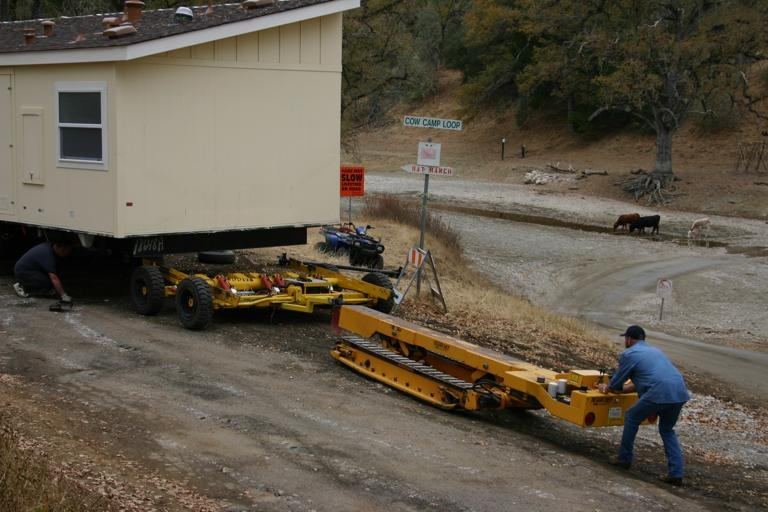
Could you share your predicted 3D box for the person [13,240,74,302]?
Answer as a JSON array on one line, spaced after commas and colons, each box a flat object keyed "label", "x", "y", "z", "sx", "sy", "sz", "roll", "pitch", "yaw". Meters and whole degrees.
[{"label": "person", "x": -7.035, "y": 0.318, "z": 16.797, "sx": 1.572, "sy": 1.194, "sz": 0.855, "roll": 6, "pitch": 8, "yaw": 32}]

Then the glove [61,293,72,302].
[{"label": "glove", "x": -6.480, "y": 0.850, "z": 16.366, "sx": 0.156, "sy": 0.088, "sz": 0.220, "roll": -5, "pitch": 18, "yaw": -40}]

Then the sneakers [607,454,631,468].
[{"label": "sneakers", "x": 3.686, "y": 3.210, "z": 12.559, "sx": 0.172, "sy": 0.146, "sz": 0.353, "roll": -7, "pitch": 17, "yaw": -41}]

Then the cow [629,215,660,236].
[{"label": "cow", "x": 12.180, "y": -1.496, "z": 37.368, "sx": 1.310, "sy": 0.864, "sz": 1.393, "roll": 3, "pitch": 7, "yaw": 16}]

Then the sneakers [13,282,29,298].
[{"label": "sneakers", "x": -7.656, "y": 0.748, "z": 16.930, "sx": 0.221, "sy": 0.412, "sz": 0.159, "roll": -14, "pitch": 1, "yaw": -17}]

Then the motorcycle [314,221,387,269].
[{"label": "motorcycle", "x": -1.064, "y": -0.367, "z": 23.431, "sx": 1.191, "sy": 0.944, "sz": 2.364, "roll": 11, "pitch": 7, "yaw": -36}]

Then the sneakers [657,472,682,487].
[{"label": "sneakers", "x": 4.401, "y": 3.407, "z": 12.262, "sx": 0.152, "sy": 0.129, "sz": 0.361, "roll": -3, "pitch": 11, "yaw": -39}]

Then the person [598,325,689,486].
[{"label": "person", "x": 4.095, "y": 2.285, "z": 12.419, "sx": 1.211, "sy": 2.337, "sz": 0.520, "roll": 4, "pitch": 8, "yaw": 18}]
